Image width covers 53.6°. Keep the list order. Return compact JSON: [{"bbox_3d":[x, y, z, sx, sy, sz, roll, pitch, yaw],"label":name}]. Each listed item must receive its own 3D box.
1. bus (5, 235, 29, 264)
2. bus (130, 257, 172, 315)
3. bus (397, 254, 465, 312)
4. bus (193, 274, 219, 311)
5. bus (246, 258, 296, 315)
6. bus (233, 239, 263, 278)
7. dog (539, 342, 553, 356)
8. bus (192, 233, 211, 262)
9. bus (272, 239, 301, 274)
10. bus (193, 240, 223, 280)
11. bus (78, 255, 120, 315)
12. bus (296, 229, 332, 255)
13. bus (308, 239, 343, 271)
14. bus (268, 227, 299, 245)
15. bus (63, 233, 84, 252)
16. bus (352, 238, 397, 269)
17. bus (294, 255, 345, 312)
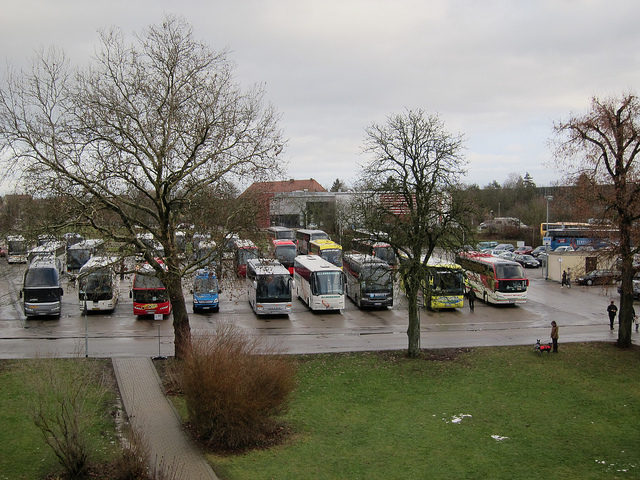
[{"bbox_3d":[-25.669,0.762,53.118,1.897,2.273,5.487,0,2,-26],"label":"bus"},{"bbox_3d":[-10.964,4.012,40.026,2.289,3.027,6.907,1,-16,-19],"label":"bus"},{"bbox_3d":[7.512,2.664,43.869,2.166,3.104,7.616,0,5,-9],"label":"bus"},{"bbox_3d":[-7.402,3.005,40.317,1.719,2.087,3.968,1,10,-13],"label":"bus"},{"bbox_3d":[-3.191,2.875,38.651,2.002,2.675,9.087,0,-1,-9],"label":"bus"},{"bbox_3d":[-5.479,1.285,46.492,1.871,2.154,6.246,-1,8,-11],"label":"bus"},{"bbox_3d":[10.689,5.132,30.027,0.532,0.489,0.556,2,10,1],"label":"dog"},{"bbox_3d":[-5.615,0.239,30.696,0.959,1.348,2.796,0,1,-21],"label":"bus"},{"bbox_3d":[-3.499,1.053,54.651,1.883,2.908,6.283,-2,9,-15],"label":"bus"},{"bbox_3d":[-5.119,0.762,28.796,1.136,1.457,2.838,0,-2,-11],"label":"bus"},{"bbox_3d":[-14.084,2.771,40.036,2.139,2.975,6.760,0,4,-14],"label":"bus"},{"bbox_3d":[-1.056,0.032,63.813,1.636,2.088,4.394,-1,4,-20],"label":"bus"},{"bbox_3d":[0.402,0.967,52.177,1.252,1.519,4.475,0,4,-10],"label":"bus"},{"bbox_3d":[-4.220,-0.489,66.901,1.365,1.464,4.835,-1,3,-11],"label":"bus"},{"bbox_3d":[-19.227,0.237,48.927,1.396,1.544,4.403,-1,0,-25],"label":"bus"},{"bbox_3d":[2.850,0.581,34.568,1.163,1.381,4.949,0,7,-11],"label":"bus"},{"bbox_3d":[-0.087,2.885,40.209,1.831,2.711,8.618,0,-1,-8],"label":"bus"}]
